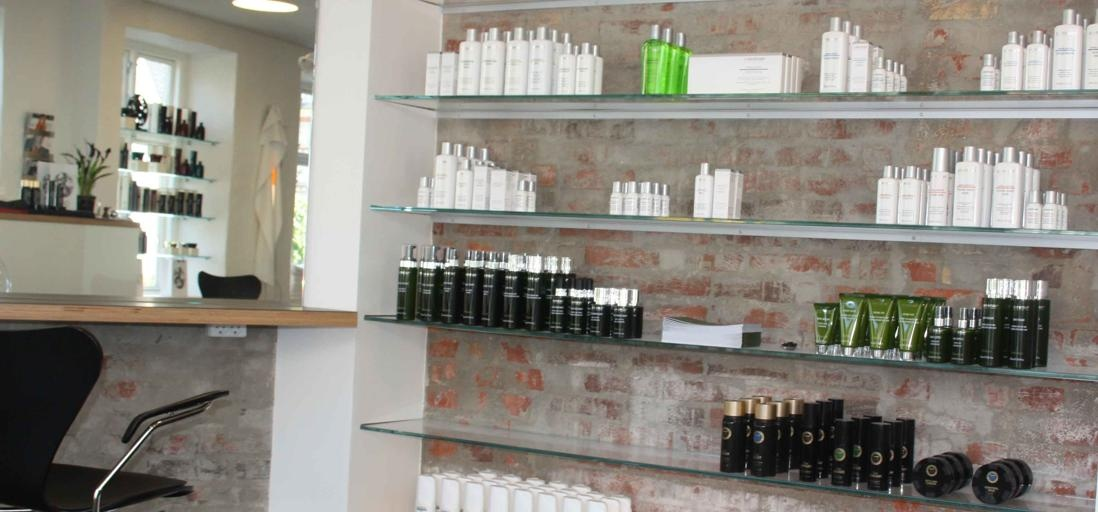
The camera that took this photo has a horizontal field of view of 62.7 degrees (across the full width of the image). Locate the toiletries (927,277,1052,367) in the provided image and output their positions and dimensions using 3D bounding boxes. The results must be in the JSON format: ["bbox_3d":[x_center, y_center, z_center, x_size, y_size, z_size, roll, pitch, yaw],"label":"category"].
[{"bbox_3d":[2.296,0.347,4.710,0.591,0.464,0.214,2,-2,17],"label":"toiletries"}]

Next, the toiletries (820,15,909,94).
[{"bbox_3d":[1.692,-1.063,4.795,0.479,0.423,0.185,2,-2,0],"label":"toiletries"}]

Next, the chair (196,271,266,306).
[{"bbox_3d":[-1.913,0.178,5.364,0.290,0.190,0.328,-3,9,-25],"label":"chair"}]

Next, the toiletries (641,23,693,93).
[{"bbox_3d":[0.645,-1.073,4.969,0.243,0.375,0.087,3,-2,2],"label":"toiletries"}]

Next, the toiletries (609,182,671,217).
[{"bbox_3d":[0.505,-0.308,4.983,0.307,0.138,0.233,1,-1,21],"label":"toiletries"}]

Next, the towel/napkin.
[{"bbox_3d":[-1.678,-0.383,5.370,0.166,0.881,0.058,4,-2,-11],"label":"towel/napkin"}]

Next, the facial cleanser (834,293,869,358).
[{"bbox_3d":[1.618,0.365,4.809,0.149,0.327,0.068,3,-2,15],"label":"facial cleanser"}]

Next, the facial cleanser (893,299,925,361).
[{"bbox_3d":[1.915,0.382,4.747,0.163,0.329,0.055,3,-2,13],"label":"facial cleanser"}]

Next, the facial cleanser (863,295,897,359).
[{"bbox_3d":[1.764,0.373,4.782,0.154,0.328,0.060,3,-2,9],"label":"facial cleanser"}]
